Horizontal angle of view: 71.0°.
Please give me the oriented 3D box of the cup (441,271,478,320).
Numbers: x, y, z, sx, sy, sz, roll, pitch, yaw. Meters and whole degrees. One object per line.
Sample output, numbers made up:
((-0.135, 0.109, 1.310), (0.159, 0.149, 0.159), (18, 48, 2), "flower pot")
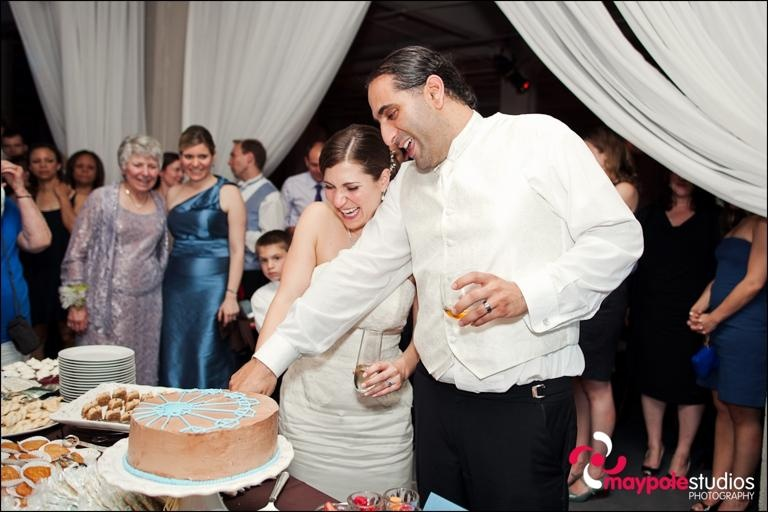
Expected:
((0.246, 0.133, 1.859), (0.128, 0.140, 0.161), (-3, -5, 9), "cup")

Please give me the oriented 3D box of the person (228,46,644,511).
((0.273, 0.099, 1.984), (1.150, 1.678, 0.529), (9, 12, 23), "person")

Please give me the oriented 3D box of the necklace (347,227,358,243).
((-0.149, -0.111, 2.663), (0.052, 0.059, 0.068), (-6, -5, 14), "necklace")

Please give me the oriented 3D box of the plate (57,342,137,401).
((-1.298, 0.495, 2.403), (0.272, 0.149, 0.264), (1, -3, -6), "plate")

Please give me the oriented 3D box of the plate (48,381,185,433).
((-1.191, 0.618, 2.196), (0.329, 0.057, 0.340), (5, 8, 28), "plate")

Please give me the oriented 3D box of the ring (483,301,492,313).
((0.329, 0.162, 1.741), (0.024, 0.032, 0.036), (-22, -14, 1), "ring")

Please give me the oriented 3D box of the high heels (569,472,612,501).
((1.323, 1.424, 3.423), (0.329, 0.127, 0.166), (5, -8, -35), "high heels")

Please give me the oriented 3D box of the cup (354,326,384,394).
((-0.059, 0.367, 1.900), (0.091, 0.228, 0.082), (5, 11, -2), "cup")

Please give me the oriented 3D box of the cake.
((-0.630, 0.614, 1.857), (0.498, 0.167, 0.486), (-1, -9, 18), "cake")
